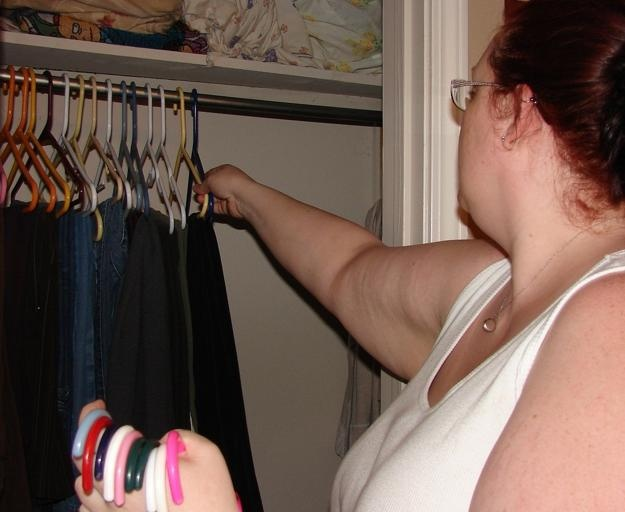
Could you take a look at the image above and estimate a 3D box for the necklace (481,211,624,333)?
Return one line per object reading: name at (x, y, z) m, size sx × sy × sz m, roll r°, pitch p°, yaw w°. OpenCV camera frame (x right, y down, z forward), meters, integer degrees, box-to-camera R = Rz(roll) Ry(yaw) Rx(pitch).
necklace at (0.258, 0.015, 0.597) m, size 0.044 × 0.146 × 0.025 m, roll 19°, pitch -22°, yaw 36°
